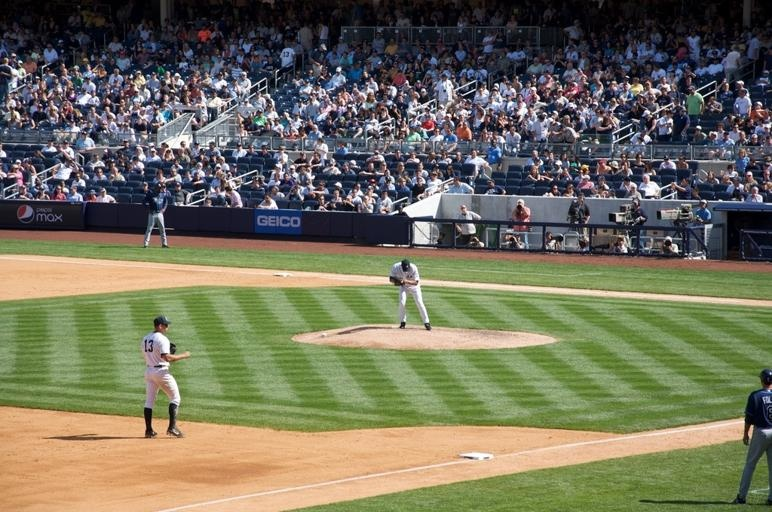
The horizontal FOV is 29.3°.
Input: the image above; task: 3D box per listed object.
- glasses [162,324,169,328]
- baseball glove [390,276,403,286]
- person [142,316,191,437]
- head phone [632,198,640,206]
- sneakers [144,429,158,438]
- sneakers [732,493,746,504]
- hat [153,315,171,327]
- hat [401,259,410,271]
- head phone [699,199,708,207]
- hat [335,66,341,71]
[{"bbox_3d":[-5.615,1.724,37.507,0.121,0.106,0.103,-13,5,-39],"label":"glasses"},{"bbox_3d":[0.288,0.697,44.339,0.336,0.240,0.287,0,4,-1],"label":"baseball glove"},{"bbox_3d":[-5.708,3.028,37.690,0.969,3.076,0.652,-1,4,-9],"label":"person"},{"bbox_3d":[9.171,-2.023,54.289,0.251,0.281,0.288,1,7,26],"label":"head phone"},{"bbox_3d":[-5.991,4.477,37.601,0.273,0.143,0.188,-2,11,-9],"label":"sneakers"},{"bbox_3d":[8.222,5.633,34.501,0.142,0.196,0.371,-1,4,-30],"label":"sneakers"},{"bbox_3d":[-5.682,1.613,37.540,0.391,0.200,0.278,-6,15,-28],"label":"hat"},{"bbox_3d":[0.554,0.247,44.092,0.268,0.321,0.357,0,4,-2],"label":"hat"},{"bbox_3d":[11.599,-1.958,54.170,0.272,0.273,0.550,1,3,15],"label":"head phone"},{"bbox_3d":[-2.162,-8.504,66.946,0.246,0.226,0.316,-3,-9,2],"label":"hat"}]
